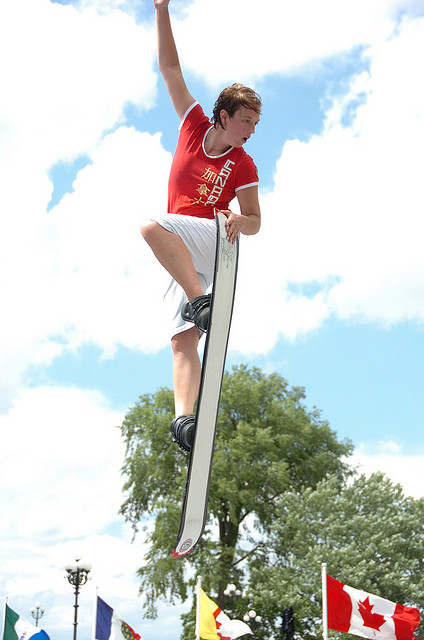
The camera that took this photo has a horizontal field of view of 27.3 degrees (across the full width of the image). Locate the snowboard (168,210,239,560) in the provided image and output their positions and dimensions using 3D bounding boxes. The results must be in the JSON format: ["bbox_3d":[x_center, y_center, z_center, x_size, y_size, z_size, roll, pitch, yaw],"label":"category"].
[{"bbox_3d":[-0.017,0.845,10.190,0.434,4.480,0.544,7,-4,-12],"label":"snowboard"}]
